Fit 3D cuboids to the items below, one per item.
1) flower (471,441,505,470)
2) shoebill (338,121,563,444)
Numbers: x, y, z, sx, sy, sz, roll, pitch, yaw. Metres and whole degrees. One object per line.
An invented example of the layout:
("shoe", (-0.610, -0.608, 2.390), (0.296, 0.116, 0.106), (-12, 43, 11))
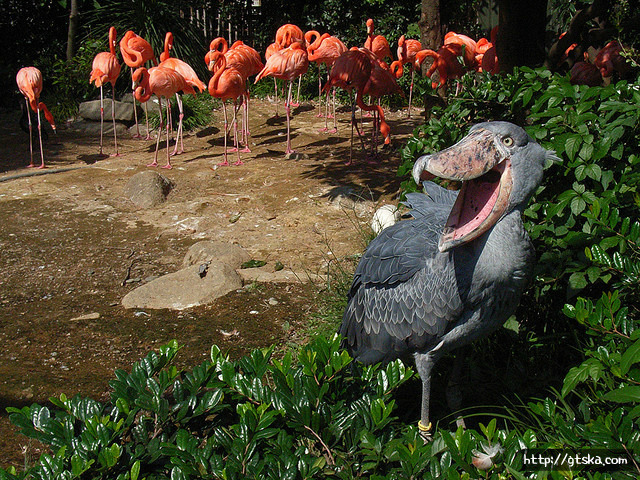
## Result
("flower", (0.657, 0.843, 2.217), (0.137, 0.087, 0.075), (1, 11, -1))
("shoebill", (0.581, 0.252, 3.181), (0.820, 1.786, 1.230), (-15, 16, -36))
